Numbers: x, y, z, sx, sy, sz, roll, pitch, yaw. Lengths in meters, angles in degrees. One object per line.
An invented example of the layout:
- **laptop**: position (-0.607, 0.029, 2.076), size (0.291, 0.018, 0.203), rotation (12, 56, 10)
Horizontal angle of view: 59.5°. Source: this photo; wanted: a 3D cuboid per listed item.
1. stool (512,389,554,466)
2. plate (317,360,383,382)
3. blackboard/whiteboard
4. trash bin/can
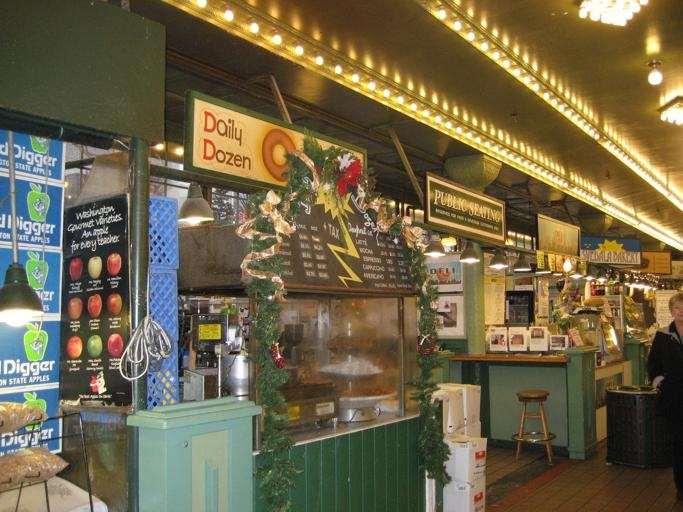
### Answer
- **stool**: position (2.502, 2.119, 7.743), size (0.518, 0.965, 0.501), rotation (2, 0, 34)
- **plate**: position (0.080, 0.820, 4.389), size (0.041, 0.169, 0.636), rotation (-10, -13, 41)
- **blackboard/whiteboard**: position (0.079, -0.126, 4.411), size (0.021, 0.779, 1.816), rotation (-9, -8, 29)
- **trash bin/can**: position (3.499, 1.986, 7.217), size (0.668, 1.087, 0.740), rotation (2, 0, 32)
